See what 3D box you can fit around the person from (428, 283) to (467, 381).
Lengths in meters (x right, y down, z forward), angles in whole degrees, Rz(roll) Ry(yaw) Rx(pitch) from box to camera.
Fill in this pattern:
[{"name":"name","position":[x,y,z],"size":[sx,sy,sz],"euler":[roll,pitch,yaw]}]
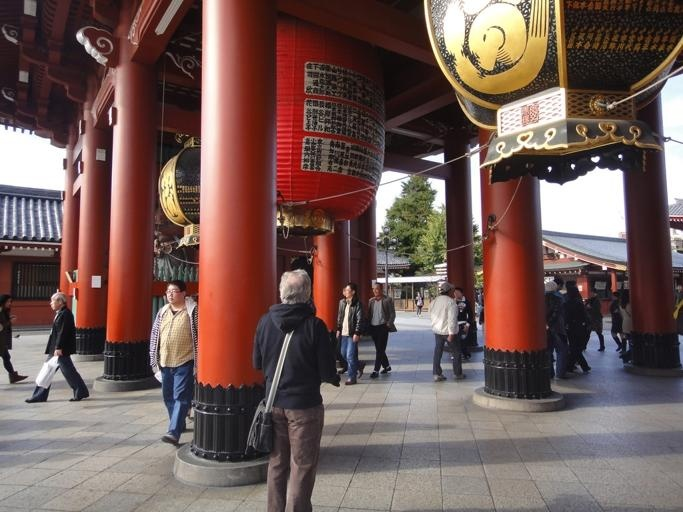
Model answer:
[{"name":"person","position":[1.796,1.252,9.571],"size":[0.526,1.629,0.966],"euler":[-2,-4,11]}]

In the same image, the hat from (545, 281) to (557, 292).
[{"name":"hat","position":[3.569,0.498,9.552],"size":[0.170,0.146,0.270],"euler":[4,9,26]}]

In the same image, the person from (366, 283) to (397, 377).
[{"name":"person","position":[0.724,1.293,10.199],"size":[0.471,1.638,1.048],"euler":[-1,-4,3]}]

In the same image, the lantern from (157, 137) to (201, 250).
[{"name":"lantern","position":[-2.673,-1.038,9.384],"size":[0.712,1.680,0.458],"euler":[-1,-4,3]}]

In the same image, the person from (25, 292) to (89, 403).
[{"name":"person","position":[-4.192,1.332,8.383],"size":[0.809,1.578,0.822],"euler":[2,-5,-30]}]

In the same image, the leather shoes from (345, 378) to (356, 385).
[{"name":"leather shoes","position":[0.153,2.059,9.212],"size":[0.068,0.079,0.195],"euler":[-9,-18,35]}]

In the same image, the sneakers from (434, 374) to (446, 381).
[{"name":"sneakers","position":[1.646,2.005,9.301],"size":[0.243,0.101,0.197],"euler":[0,-4,-15]}]

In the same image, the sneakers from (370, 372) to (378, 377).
[{"name":"sneakers","position":[0.570,2.050,9.753],"size":[0.139,0.086,0.243],"euler":[-1,-4,4]}]

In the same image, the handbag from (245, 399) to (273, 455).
[{"name":"handbag","position":[-0.686,1.432,4.744],"size":[0.152,0.439,0.230],"euler":[3,-5,-41]}]

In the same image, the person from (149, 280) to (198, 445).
[{"name":"person","position":[-1.943,1.202,6.458],"size":[0.506,1.841,0.313],"euler":[-4,-5,35]}]
